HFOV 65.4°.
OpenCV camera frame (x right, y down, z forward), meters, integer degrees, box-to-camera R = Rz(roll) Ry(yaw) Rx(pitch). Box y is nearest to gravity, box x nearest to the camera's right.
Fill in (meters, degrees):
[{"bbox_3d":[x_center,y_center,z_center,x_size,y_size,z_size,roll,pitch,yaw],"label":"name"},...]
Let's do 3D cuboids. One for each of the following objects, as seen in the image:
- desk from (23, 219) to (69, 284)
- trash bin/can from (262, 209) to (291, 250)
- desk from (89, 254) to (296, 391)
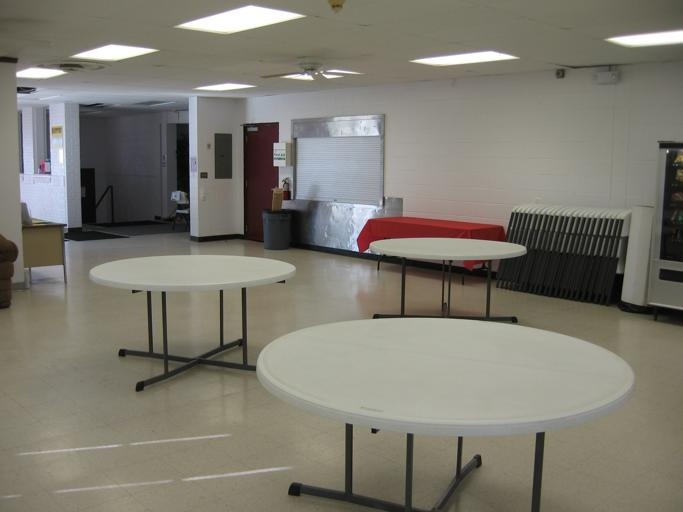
[{"bbox_3d":[-4.508,-0.039,8.104,0.578,0.930,0.487,-7,13,-32],"label":"desk"},{"bbox_3d":[-1.361,-0.568,11.544,0.695,0.813,0.760,-2,5,-27],"label":"trash bin/can"},{"bbox_3d":[-1.296,0.386,4.785,1.421,0.751,1.413,1,12,-7],"label":"desk"}]
